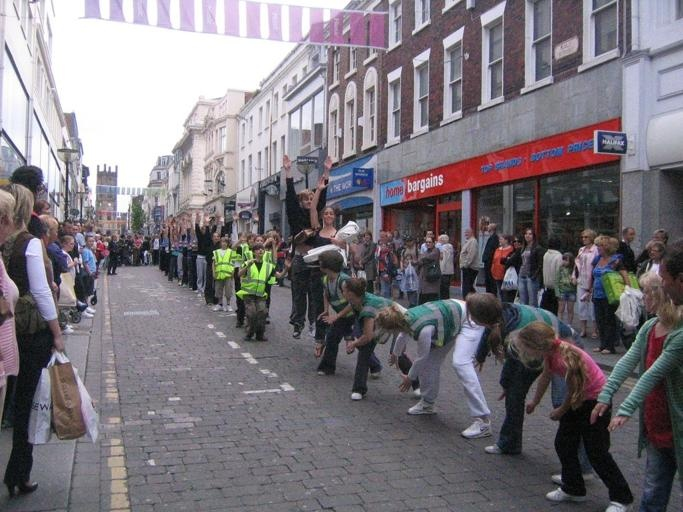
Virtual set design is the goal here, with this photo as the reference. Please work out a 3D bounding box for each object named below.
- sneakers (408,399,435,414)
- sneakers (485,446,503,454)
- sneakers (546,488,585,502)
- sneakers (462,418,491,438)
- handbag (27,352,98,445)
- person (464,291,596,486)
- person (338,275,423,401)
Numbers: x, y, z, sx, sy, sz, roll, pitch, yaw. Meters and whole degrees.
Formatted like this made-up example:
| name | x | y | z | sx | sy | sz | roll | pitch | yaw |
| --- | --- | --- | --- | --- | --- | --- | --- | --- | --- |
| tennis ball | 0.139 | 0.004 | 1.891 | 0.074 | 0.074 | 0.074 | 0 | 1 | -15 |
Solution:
| name | x | y | z | sx | sy | sz | roll | pitch | yaw |
| --- | --- | --- | --- | --- | --- | --- | --- | --- | --- |
| sneakers | 0.878 | 1.674 | 7.389 | 0.330 | 0.188 | 0.129 | 2 | 1 | -1 |
| sneakers | 1.415 | 1.802 | 6.210 | 0.118 | 0.052 | 0.068 | 6 | -3 | 9 |
| sneakers | 1.827 | 1.928 | 5.397 | 0.309 | 0.137 | 0.122 | 6 | -13 | 9 |
| sneakers | 1.349 | 1.722 | 6.685 | 0.364 | 0.199 | 0.141 | -1 | -2 | -13 |
| handbag | -2.198 | 1.097 | 5.209 | 0.501 | 0.697 | 0.242 | -1 | 3 | -19 |
| person | 1.728 | 1.134 | 6.167 | 1.058 | 1.428 | 0.820 | 1 | 2 | 6 |
| person | 0.442 | 0.970 | 7.823 | 0.921 | 1.352 | 0.573 | -1 | -1 | -10 |
